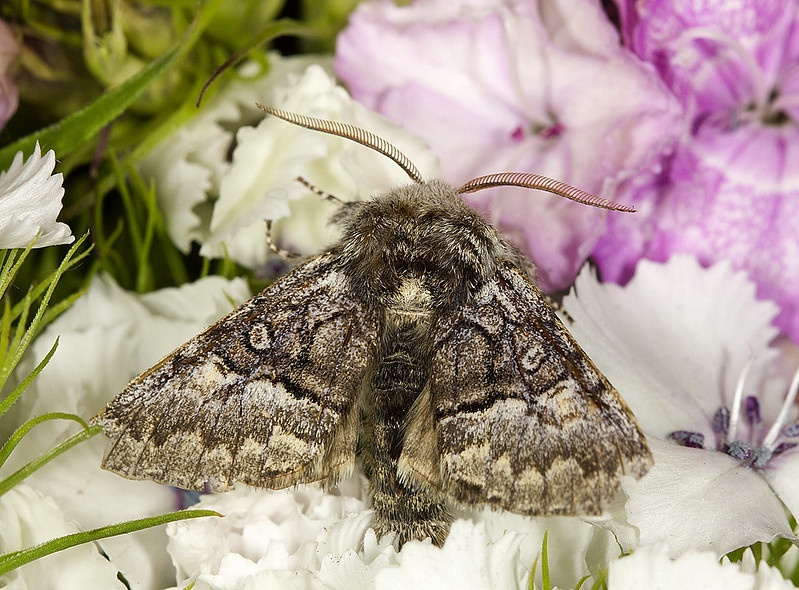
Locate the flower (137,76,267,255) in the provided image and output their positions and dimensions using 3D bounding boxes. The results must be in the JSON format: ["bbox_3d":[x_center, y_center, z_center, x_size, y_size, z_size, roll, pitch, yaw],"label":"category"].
[{"bbox_3d":[-0.174,-0.122,0.842,0.117,0.149,0.048,18,-14,-18],"label":"flower"}]
